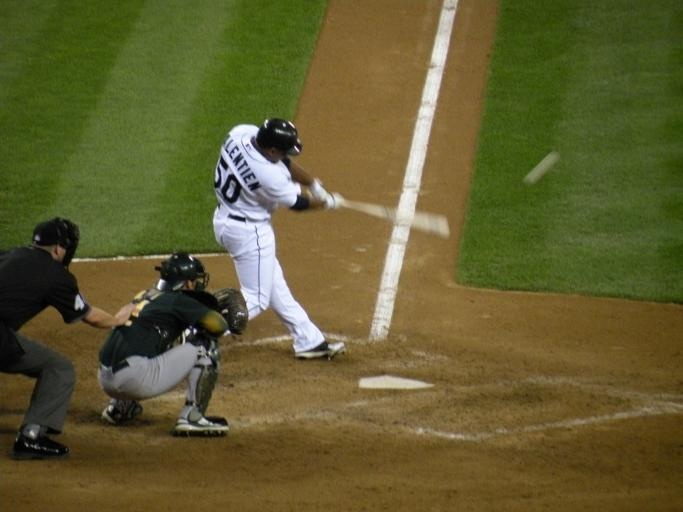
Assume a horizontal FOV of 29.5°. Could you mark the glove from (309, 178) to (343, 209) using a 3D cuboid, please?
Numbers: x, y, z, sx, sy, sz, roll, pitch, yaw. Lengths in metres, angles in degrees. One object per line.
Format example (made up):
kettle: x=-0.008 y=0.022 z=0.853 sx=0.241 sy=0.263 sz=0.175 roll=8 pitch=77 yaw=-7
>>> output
glove: x=-0.182 y=-0.669 z=14.789 sx=0.397 sy=0.152 sz=0.249 roll=34 pitch=32 yaw=-33

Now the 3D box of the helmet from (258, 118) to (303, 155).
helmet: x=-0.649 y=-1.348 z=14.333 sx=0.524 sy=0.277 sz=0.402 roll=17 pitch=38 yaw=-10

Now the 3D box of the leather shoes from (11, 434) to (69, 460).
leather shoes: x=-3.146 y=1.990 z=13.536 sx=0.581 sy=0.278 sz=0.229 roll=1 pitch=5 yaw=-10

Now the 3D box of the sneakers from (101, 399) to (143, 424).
sneakers: x=-2.387 y=1.687 z=13.951 sx=0.217 sy=0.195 sz=0.510 roll=-9 pitch=2 yaw=35

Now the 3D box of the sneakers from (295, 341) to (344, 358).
sneakers: x=-0.246 y=1.104 z=15.077 sx=0.588 sy=0.245 sz=0.221 roll=-4 pitch=11 yaw=-1

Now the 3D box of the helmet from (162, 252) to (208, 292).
helmet: x=-1.729 y=0.168 z=13.832 sx=0.613 sy=0.402 sz=0.458 roll=-3 pitch=12 yaw=-44
